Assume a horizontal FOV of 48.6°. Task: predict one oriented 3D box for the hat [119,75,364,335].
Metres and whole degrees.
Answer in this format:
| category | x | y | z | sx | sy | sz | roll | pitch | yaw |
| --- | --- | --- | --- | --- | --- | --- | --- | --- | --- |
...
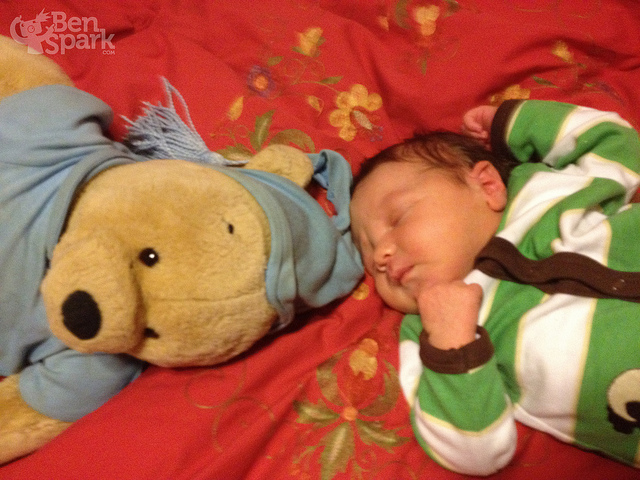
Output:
| category | x | y | z | sx | sy | sz | roll | pitch | yaw |
| --- | --- | --- | --- | --- | --- | --- | --- | --- | --- |
| hat | -0.148 | -0.087 | 1.723 | 0.670 | 0.457 | 0.184 | 42 | -7 | 10 |
